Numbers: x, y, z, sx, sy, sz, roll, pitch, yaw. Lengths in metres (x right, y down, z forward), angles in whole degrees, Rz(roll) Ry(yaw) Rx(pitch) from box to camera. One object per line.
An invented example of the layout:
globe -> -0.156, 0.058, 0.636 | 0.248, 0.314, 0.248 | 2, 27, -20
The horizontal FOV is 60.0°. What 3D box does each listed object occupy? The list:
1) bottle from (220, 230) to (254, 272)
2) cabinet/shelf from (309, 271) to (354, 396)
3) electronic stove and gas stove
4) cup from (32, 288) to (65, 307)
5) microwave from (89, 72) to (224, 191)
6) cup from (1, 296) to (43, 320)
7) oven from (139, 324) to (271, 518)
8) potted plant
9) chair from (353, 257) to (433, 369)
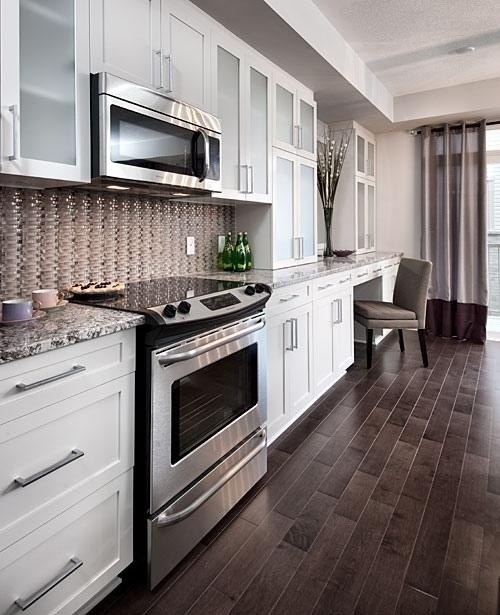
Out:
bottle -> -0.093, -0.332, 2.603 | 0.175, 0.220, 0.242 | 2, 10, 20
cabinet/shelf -> 0.480, 0.153, 2.931 | 0.280, 0.625, 0.568 | 7, 17, 39
electronic stove and gas stove -> -0.296, -0.036, 1.685 | 0.576, 0.144, 0.777 | 5, 12, 30
cup -> -0.621, -0.021, 1.328 | 0.071, 0.065, 0.060 | 0, 0, -10
microwave -> -0.363, -0.638, 1.691 | 0.263, 0.326, 0.551 | 14, 14, 41
cup -> -0.603, 0.011, 1.132 | 0.076, 0.065, 0.058 | 1, -3, -37
oven -> -0.203, 0.338, 1.581 | 0.323, 0.670, 0.675 | 6, 12, 29
potted plant -> 0.746, -1.059, 3.876 | 0.288, 1.187, 0.559 | 1, 9, 13
chair -> 1.128, 0.020, 3.536 | 0.426, 0.887, 0.595 | 3, 7, 2
